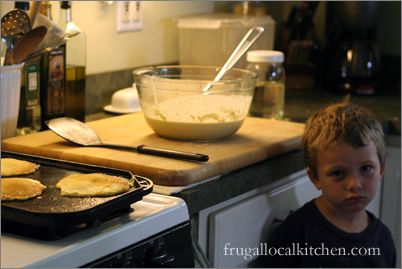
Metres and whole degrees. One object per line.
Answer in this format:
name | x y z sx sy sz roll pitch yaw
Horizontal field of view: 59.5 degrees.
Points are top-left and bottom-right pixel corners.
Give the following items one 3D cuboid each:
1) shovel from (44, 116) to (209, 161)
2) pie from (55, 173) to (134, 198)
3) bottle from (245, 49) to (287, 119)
shovel | -0.218 0.006 1.052 0.527 0.092 0.119 3 17 17
pie | -0.228 0.104 0.751 0.151 0.017 0.138 -1 11 -35
bottle | 0.309 -0.227 1.623 0.161 0.329 0.151 1 22 0
